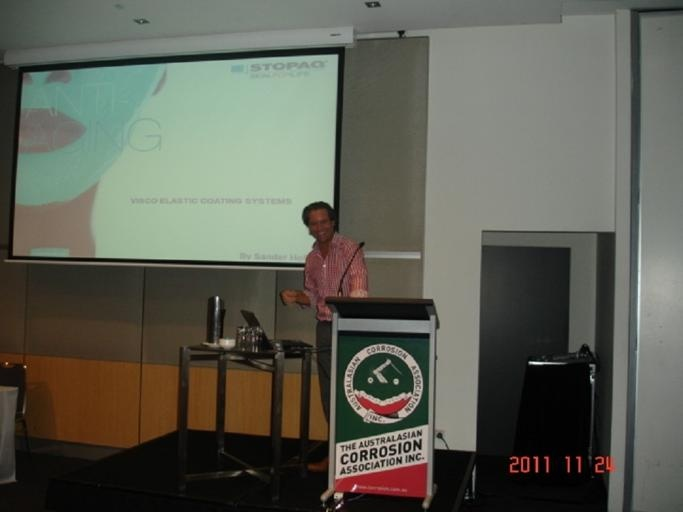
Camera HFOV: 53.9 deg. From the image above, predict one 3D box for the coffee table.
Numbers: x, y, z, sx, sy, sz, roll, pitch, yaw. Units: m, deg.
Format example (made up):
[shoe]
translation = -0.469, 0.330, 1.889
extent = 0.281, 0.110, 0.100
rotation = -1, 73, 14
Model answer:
[coffee table]
translation = -0.741, 1.267, 5.623
extent = 1.065, 1.620, 0.984
rotation = 2, -4, -1

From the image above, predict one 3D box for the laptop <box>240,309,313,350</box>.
[laptop]
translation = -0.535, 0.608, 5.213
extent = 0.343, 0.255, 0.369
rotation = 1, -5, -14

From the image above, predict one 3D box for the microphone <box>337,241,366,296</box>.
[microphone]
translation = 0.066, 0.109, 5.285
extent = 0.172, 0.390, 0.215
rotation = 0, -1, 1

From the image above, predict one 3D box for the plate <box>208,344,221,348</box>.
[plate]
translation = -0.978, 0.676, 5.121
extent = 0.094, 0.025, 0.139
rotation = 1, -2, -15
